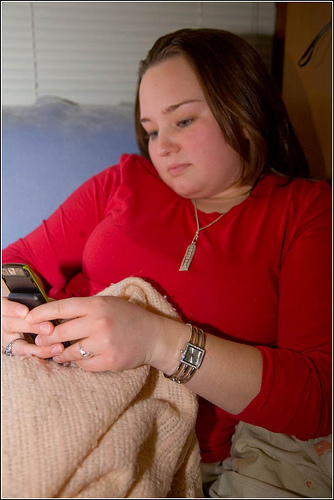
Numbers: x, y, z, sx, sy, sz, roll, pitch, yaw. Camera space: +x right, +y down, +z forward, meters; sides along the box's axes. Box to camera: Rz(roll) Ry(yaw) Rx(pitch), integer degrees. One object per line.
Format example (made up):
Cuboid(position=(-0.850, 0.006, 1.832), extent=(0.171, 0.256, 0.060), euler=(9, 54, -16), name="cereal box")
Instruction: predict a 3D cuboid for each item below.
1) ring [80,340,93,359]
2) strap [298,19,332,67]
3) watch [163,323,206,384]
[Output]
Cuboid(position=(-0.123, 0.151, 0.619), extent=(0.019, 0.024, 0.009), euler=(1, 23, 36), name="ring")
Cuboid(position=(0.393, -0.541, 1.064), extent=(0.009, 0.117, 0.039), euler=(47, 9, 31), name="strap")
Cuboid(position=(0.038, 0.195, 0.701), extent=(0.033, 0.078, 0.087), euler=(26, -19, 15), name="watch")
